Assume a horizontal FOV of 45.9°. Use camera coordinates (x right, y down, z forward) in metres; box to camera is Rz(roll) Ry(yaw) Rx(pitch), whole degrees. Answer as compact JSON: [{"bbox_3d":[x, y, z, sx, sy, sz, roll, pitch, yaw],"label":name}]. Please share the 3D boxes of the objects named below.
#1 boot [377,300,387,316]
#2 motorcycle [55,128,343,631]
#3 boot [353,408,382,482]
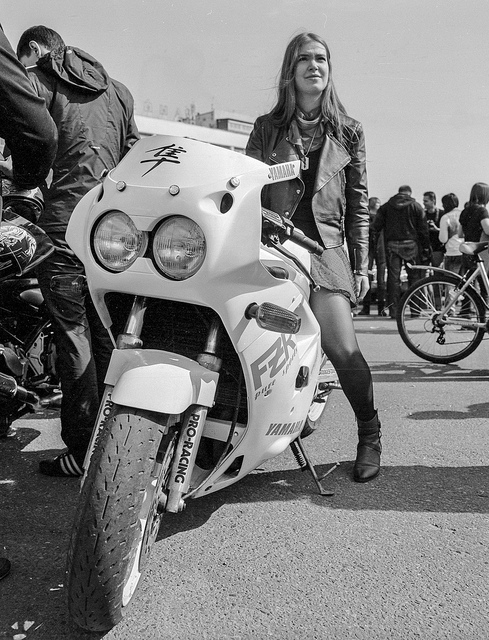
[{"bbox_3d":[2.292,-0.192,9.608,0.177,0.239,0.318,-3,11,13],"label":"boot"},{"bbox_3d":[-0.138,0.125,1.877,0.693,1.397,1.189,2,5,20],"label":"motorcycle"},{"bbox_3d":[0.598,0.607,2.826,0.129,0.255,0.382,-4,14,20],"label":"boot"}]
